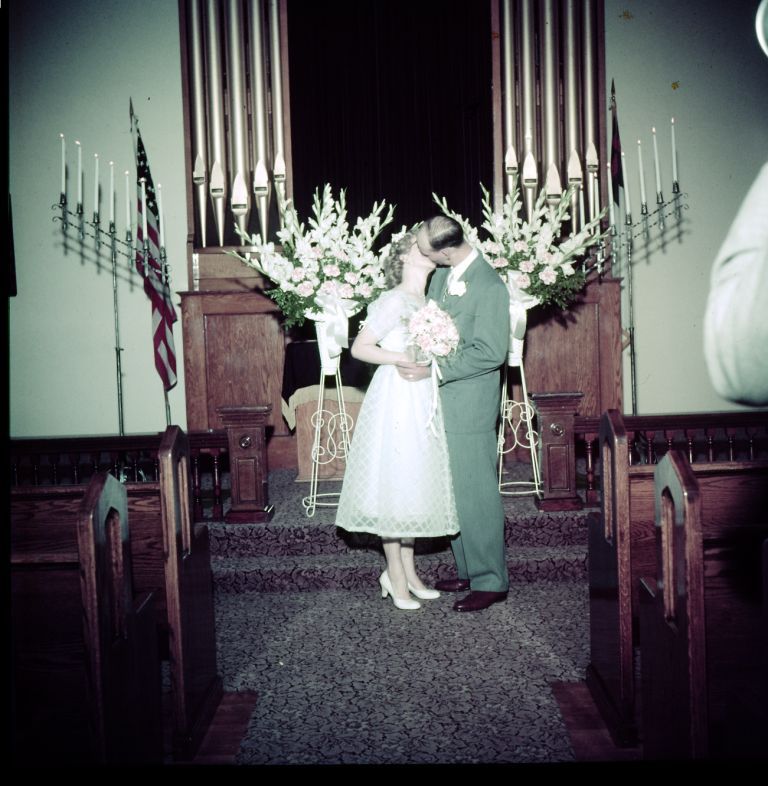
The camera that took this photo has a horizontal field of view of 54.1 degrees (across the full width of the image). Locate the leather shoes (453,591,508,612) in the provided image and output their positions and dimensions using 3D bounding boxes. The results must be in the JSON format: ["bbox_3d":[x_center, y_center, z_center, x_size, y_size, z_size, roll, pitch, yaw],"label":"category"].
[{"bbox_3d":[0.419,0.873,3.272,0.222,0.123,0.098,1,-2,-14],"label":"leather shoes"}]

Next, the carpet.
[{"bbox_3d":[0.096,0.797,2.794,1.046,0.367,0.876,-1,0,-3],"label":"carpet"}]

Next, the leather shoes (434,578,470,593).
[{"bbox_3d":[0.318,0.876,3.503,0.155,0.081,0.066,3,-2,0],"label":"leather shoes"}]

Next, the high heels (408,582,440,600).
[{"bbox_3d":[0.179,0.899,3.469,0.161,0.085,0.061,0,-4,29],"label":"high heels"}]

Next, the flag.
[{"bbox_3d":[-1.599,-0.869,5.321,0.283,1.866,1.133,-3,7,-18],"label":"flag"}]

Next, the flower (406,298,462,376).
[{"bbox_3d":[0.192,-0.218,3.025,0.196,0.304,0.132,-1,7,-6],"label":"flower"}]

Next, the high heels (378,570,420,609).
[{"bbox_3d":[0.064,0.877,3.417,0.086,0.169,0.257,3,2,-41],"label":"high heels"}]
